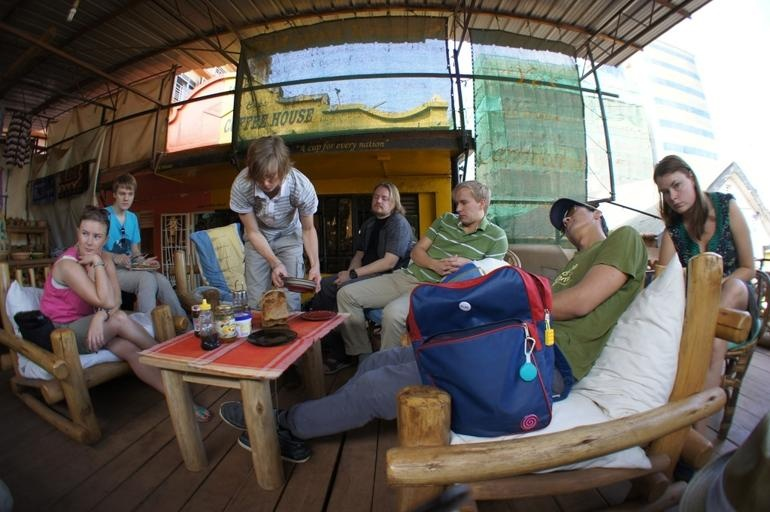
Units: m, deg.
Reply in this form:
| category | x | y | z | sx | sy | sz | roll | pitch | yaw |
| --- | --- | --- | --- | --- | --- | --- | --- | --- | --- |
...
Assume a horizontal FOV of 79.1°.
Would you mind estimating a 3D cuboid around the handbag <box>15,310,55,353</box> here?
| category | x | y | z | sx | sy | sz | roll | pitch | yaw |
| --- | --- | --- | --- | --- | --- | --- | --- | --- | --- |
| handbag | -3.267 | 0.713 | 4.450 | 0.549 | 0.379 | 0.197 | 1 | 7 | 30 |

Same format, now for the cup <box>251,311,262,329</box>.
| category | x | y | z | sx | sy | sz | roll | pitch | yaw |
| --- | --- | --- | --- | --- | --- | --- | --- | --- | --- |
| cup | -1.247 | 0.629 | 4.573 | 0.133 | 0.126 | 0.133 | 0 | -2 | 0 |

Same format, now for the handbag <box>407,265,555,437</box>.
| category | x | y | z | sx | sy | sz | roll | pitch | yaw |
| --- | --- | --- | --- | --- | --- | --- | --- | --- | --- |
| handbag | 0.710 | 0.736 | 3.415 | 1.030 | 1.171 | 0.668 | -8 | -11 | 6 |

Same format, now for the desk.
| category | x | y | z | sx | sy | sz | roll | pitch | yaw |
| --- | --- | --- | --- | --- | --- | --- | --- | --- | --- |
| desk | -1.206 | 1.268 | 4.516 | 1.379 | 1.096 | 1.495 | 1 | 13 | 17 |

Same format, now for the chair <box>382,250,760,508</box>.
| category | x | y | z | sx | sy | sz | roll | pitch | yaw |
| --- | --- | --- | --- | --- | --- | --- | --- | --- | --- |
| chair | 1.420 | 0.978 | 3.516 | 1.961 | 2.178 | 1.687 | -7 | 5 | -1 |

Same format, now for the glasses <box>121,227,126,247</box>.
| category | x | y | z | sx | sy | sz | roll | pitch | yaw |
| --- | --- | --- | --- | --- | --- | --- | --- | --- | --- |
| glasses | -3.241 | -0.238 | 5.877 | 0.049 | 0.202 | 0.059 | -1 | -3 | 8 |

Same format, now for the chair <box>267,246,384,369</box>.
| category | x | y | z | sx | sy | sz | roll | pitch | yaw |
| --- | --- | --- | --- | --- | --- | --- | --- | --- | --- |
| chair | -0.586 | 0.619 | 5.254 | 1.350 | 1.174 | 0.946 | 17 | -10 | -31 |

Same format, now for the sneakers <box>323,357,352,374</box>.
| category | x | y | z | sx | sy | sz | roll | pitch | yaw |
| --- | --- | --- | --- | --- | --- | --- | --- | --- | --- |
| sneakers | -0.522 | 1.250 | 5.273 | 0.119 | 0.119 | 0.328 | -5 | -9 | 38 |
